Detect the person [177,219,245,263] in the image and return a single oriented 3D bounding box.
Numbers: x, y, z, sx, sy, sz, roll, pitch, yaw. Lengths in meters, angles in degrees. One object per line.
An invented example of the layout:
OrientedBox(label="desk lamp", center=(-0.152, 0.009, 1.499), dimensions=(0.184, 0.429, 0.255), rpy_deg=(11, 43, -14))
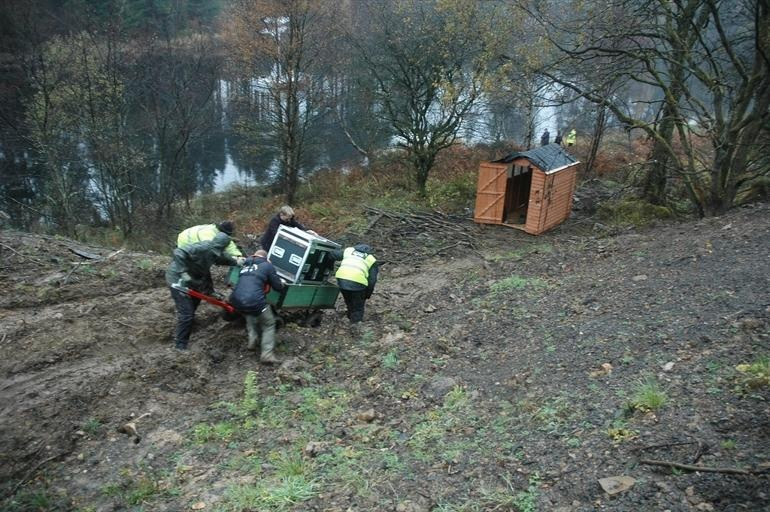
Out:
OrientedBox(label="person", center=(-4.891, -0.372, 16.018), dimensions=(1.478, 0.535, 1.309), rpy_deg=(-5, 50, -11))
